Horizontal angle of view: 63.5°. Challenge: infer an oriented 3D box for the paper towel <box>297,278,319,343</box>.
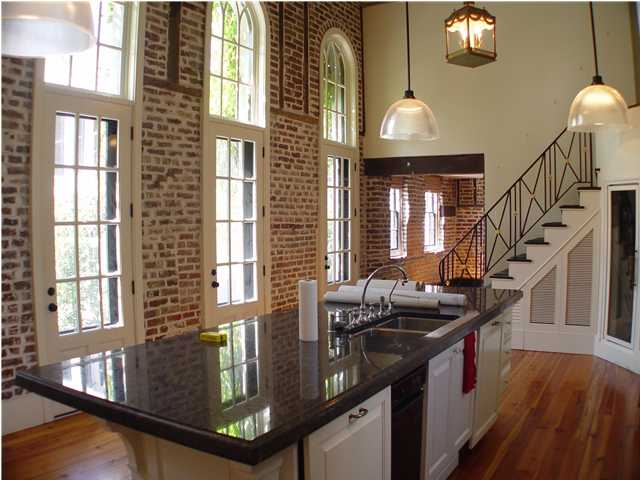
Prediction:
[{"bbox_3d":[-0.073,0.431,3.185,0.131,0.358,0.133,-1,-4,12],"label":"paper towel"}]
